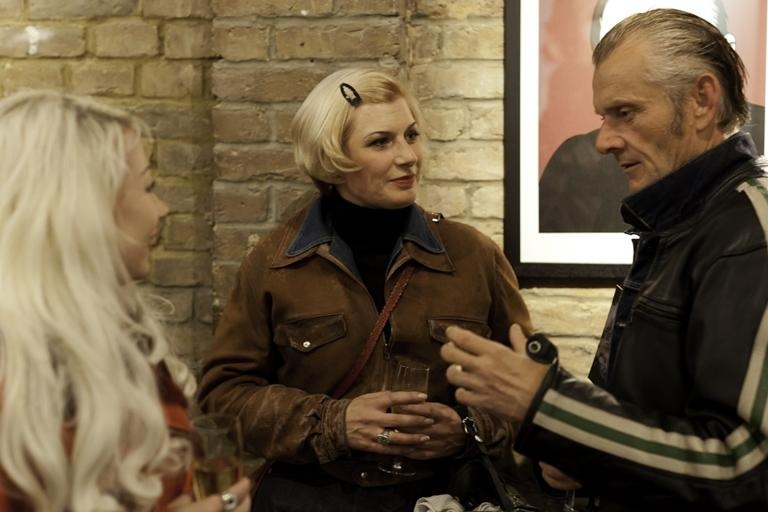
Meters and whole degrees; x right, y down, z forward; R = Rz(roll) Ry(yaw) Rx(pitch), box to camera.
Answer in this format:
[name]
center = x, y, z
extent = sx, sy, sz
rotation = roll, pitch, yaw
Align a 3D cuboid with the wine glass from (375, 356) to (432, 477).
[wine glass]
center = 0.065, 0.502, 2.605
extent = 0.158, 0.365, 0.301
rotation = 2, 4, 2
